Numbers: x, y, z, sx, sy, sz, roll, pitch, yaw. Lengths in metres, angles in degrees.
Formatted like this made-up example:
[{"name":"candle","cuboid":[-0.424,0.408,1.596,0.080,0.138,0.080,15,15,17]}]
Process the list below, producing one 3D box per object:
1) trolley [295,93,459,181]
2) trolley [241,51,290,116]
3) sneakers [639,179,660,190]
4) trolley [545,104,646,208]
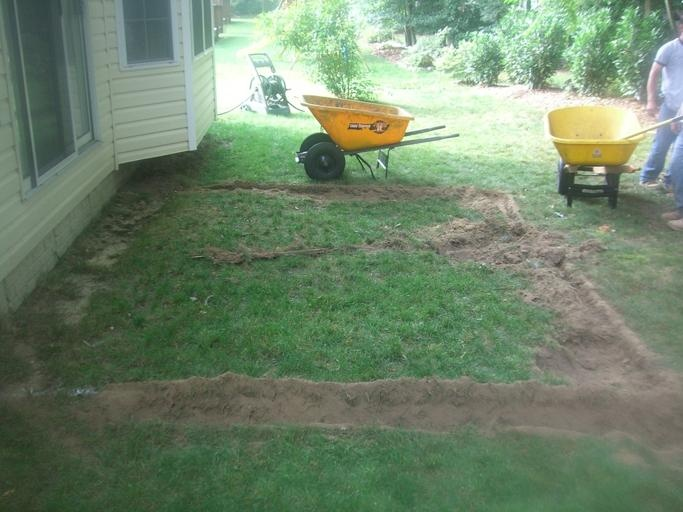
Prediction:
[{"name":"trolley","cuboid":[0.777,-2.412,10.382,3.293,1.754,1.394,-6,44,-9]},{"name":"trolley","cuboid":[-1.959,-4.497,14.544,1.097,1.391,1.238,-8,24,-18]},{"name":"sneakers","cuboid":[5.291,-1.227,9.622,0.278,0.134,0.171,1,8,43]},{"name":"trolley","cuboid":[4.209,-1.728,9.557,1.381,1.144,2.175,2,36,13]}]
